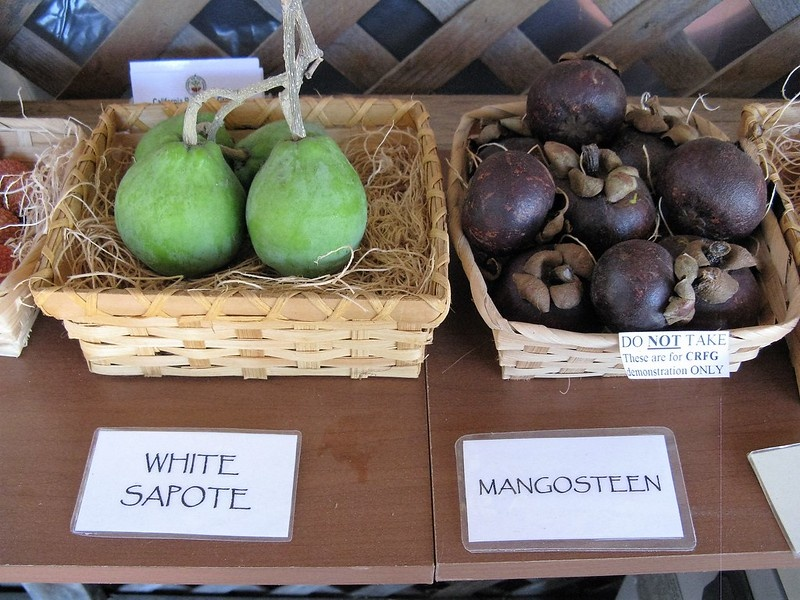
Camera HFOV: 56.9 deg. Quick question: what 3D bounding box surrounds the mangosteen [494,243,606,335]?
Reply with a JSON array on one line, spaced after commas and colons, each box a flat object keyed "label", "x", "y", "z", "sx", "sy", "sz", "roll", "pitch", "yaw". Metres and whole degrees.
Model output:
[{"label": "mangosteen", "x": 0.189, "y": -0.013, "z": 0.953, "sx": 0.121, "sy": 0.088, "sz": 0.118, "roll": -7, "pitch": 49, "yaw": -16}]

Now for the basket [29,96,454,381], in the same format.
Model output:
[{"label": "basket", "x": -0.199, "y": -0.039, "z": 0.972, "sx": 0.659, "sy": 0.191, "sz": 0.355, "roll": 2, "pitch": 58, "yaw": -3}]

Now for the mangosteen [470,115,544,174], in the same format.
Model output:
[{"label": "mangosteen", "x": 0.164, "y": -0.221, "z": 1.115, "sx": 0.106, "sy": 0.053, "sz": 0.096, "roll": -39, "pitch": 54, "yaw": -22}]

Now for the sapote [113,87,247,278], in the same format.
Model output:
[{"label": "sapote", "x": -0.284, "y": -0.116, "z": 0.956, "sx": 0.159, "sy": 0.164, "sz": 0.137, "roll": -17, "pitch": 55, "yaw": -22}]

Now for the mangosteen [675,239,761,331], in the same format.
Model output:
[{"label": "mangosteen", "x": 0.391, "y": -0.015, "z": 0.922, "sx": 0.089, "sy": 0.082, "sz": 0.085, "roll": -40, "pitch": 56, "yaw": -6}]

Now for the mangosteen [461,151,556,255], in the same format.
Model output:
[{"label": "mangosteen", "x": 0.138, "y": -0.125, "z": 0.978, "sx": 0.105, "sy": 0.122, "sz": 0.096, "roll": 15, "pitch": 50, "yaw": 3}]

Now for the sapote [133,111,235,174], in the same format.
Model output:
[{"label": "sapote", "x": -0.289, "y": -0.211, "z": 1.031, "sx": 0.130, "sy": 0.058, "sz": 0.084, "roll": 8, "pitch": 51, "yaw": 5}]

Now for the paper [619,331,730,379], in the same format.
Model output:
[{"label": "paper", "x": 0.338, "y": 0.071, "z": 0.921, "sx": 0.138, "sy": 0.005, "sz": 0.058, "roll": -5, "pitch": 81, "yaw": 35}]

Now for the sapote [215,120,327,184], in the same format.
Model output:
[{"label": "sapote", "x": -0.172, "y": -0.191, "z": 0.966, "sx": 0.082, "sy": 0.053, "sz": 0.145, "roll": 4, "pitch": 22, "yaw": 18}]

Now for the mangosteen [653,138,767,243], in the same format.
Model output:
[{"label": "mangosteen", "x": 0.405, "y": -0.138, "z": 0.971, "sx": 0.143, "sy": 0.129, "sz": 0.117, "roll": -41, "pitch": 109, "yaw": -40}]

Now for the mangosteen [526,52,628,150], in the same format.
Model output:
[{"label": "mangosteen", "x": 0.242, "y": -0.291, "z": 1.053, "sx": 0.147, "sy": 0.119, "sz": 0.116, "roll": 9, "pitch": 90, "yaw": 5}]

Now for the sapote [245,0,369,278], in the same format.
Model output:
[{"label": "sapote", "x": -0.105, "y": -0.185, "z": 0.918, "sx": 0.157, "sy": 0.338, "sz": 0.216, "roll": 10, "pitch": 51, "yaw": -4}]
